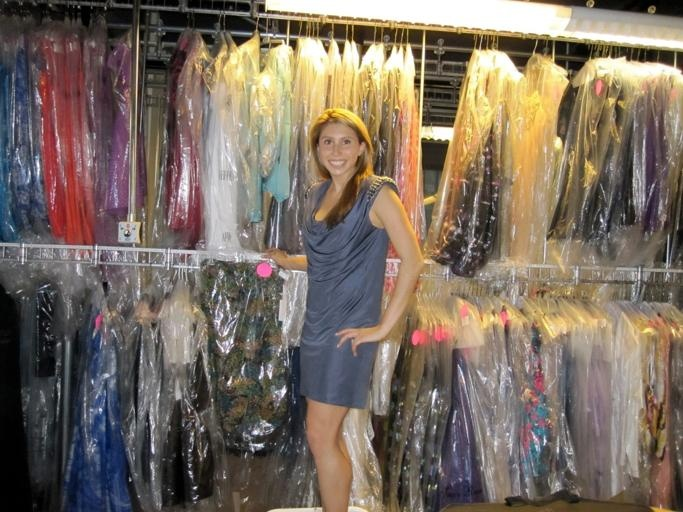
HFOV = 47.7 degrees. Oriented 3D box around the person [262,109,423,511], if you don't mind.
[{"bbox_3d":[0.072,0.266,3.519,0.551,1.706,0.223,4,1,16],"label":"person"}]
